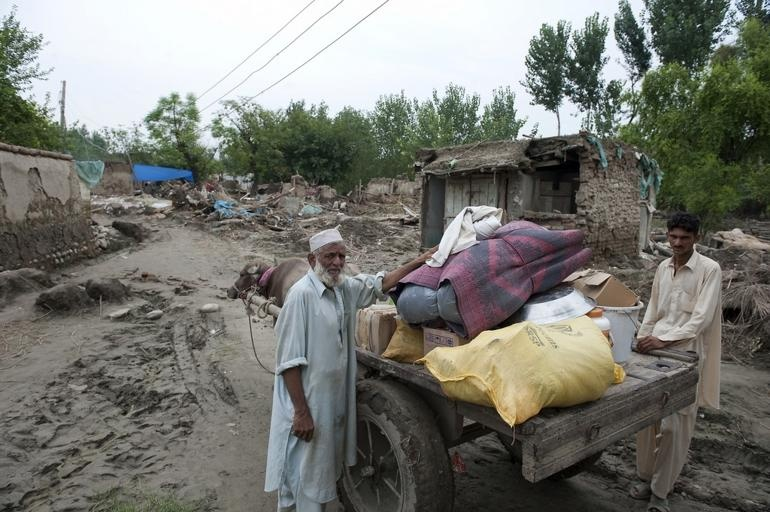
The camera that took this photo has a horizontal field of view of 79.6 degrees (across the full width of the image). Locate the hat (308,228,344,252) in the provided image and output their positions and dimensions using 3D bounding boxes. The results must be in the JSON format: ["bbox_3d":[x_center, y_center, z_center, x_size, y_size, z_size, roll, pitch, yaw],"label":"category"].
[{"bbox_3d":[-0.624,-0.122,4.644,0.259,0.141,0.255,-10,0,-42],"label":"hat"}]

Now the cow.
[{"bbox_3d":[-1.770,0.360,7.035,1.912,1.046,0.641,4,-17,44],"label":"cow"}]

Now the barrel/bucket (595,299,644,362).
[{"bbox_3d":[2.348,0.677,4.533,0.540,0.528,0.512,-2,8,0],"label":"barrel/bucket"}]

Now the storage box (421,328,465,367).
[{"bbox_3d":[0.558,0.845,4.334,0.252,0.299,0.406,1,-2,-31],"label":"storage box"}]

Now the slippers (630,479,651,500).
[{"bbox_3d":[2.919,2.628,5.266,0.305,0.126,0.110,0,4,-14],"label":"slippers"}]
